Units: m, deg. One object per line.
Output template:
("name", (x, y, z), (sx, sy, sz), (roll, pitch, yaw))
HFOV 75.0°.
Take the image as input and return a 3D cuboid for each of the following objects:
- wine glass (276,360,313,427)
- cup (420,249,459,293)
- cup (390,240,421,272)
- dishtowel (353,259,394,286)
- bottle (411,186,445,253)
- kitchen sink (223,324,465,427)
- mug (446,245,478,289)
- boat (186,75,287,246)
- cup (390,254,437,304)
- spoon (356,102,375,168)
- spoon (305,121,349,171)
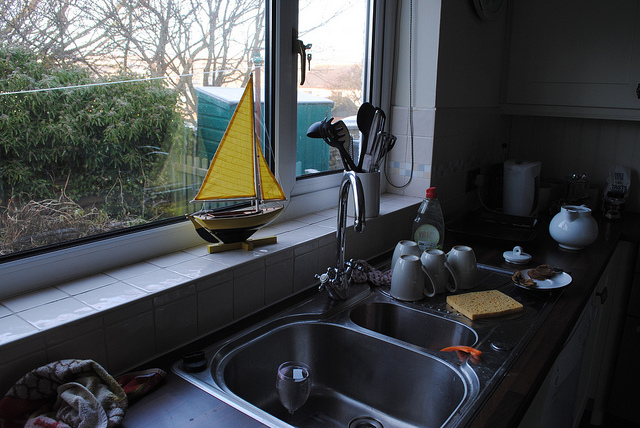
("wine glass", (-0.069, 0.471, 1.125), (0.087, 0.125, 0.072), (0, 16, 5))
("cup", (0.469, 0.223, 1.554), (0.099, 0.151, 0.173), (-17, 21, -16))
("cup", (0.317, 0.149, 1.592), (0.106, 0.111, 0.116), (0, 10, 0))
("dishtowel", (0.209, 0.234, 1.632), (0.126, 0.040, 0.092), (31, 39, 19))
("bottle", (0.441, 0.021, 1.698), (0.124, 0.269, 0.206), (3, 16, 13))
("kitchen sink", (0.059, 0.500, 1.279), (0.466, 0.190, 0.307), (12, 17, 35))
("mug", (0.542, 0.196, 1.581), (0.099, 0.140, 0.148), (10, 17, 29))
("boat", (-0.292, -0.175, 1.428), (0.346, 0.570, 0.182), (-7, 17, -19))
("cup", (0.347, 0.237, 1.513), (0.127, 0.143, 0.188), (-8, 16, -26))
("spoon", (0.200, -0.352, 1.854), (0.093, 0.275, 0.055), (-14, 20, -38))
("spoon", (0.038, -0.287, 1.755), (0.165, 0.207, 0.137), (0, 16, 4))
